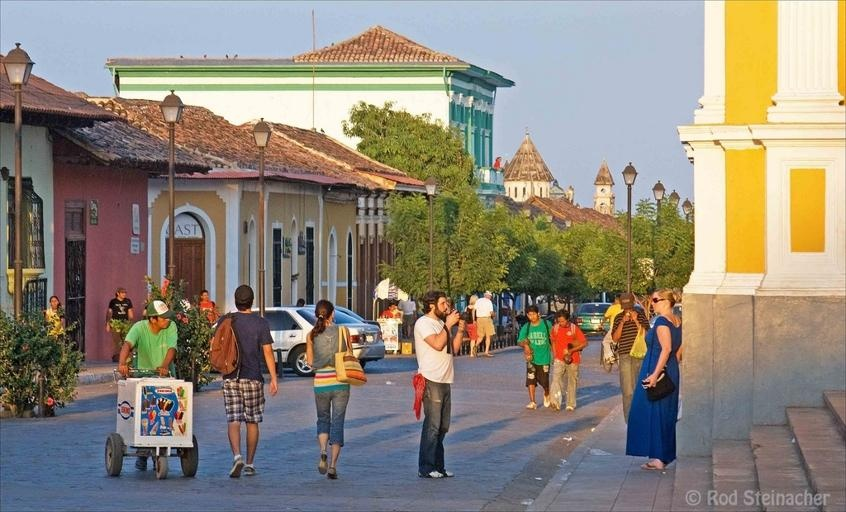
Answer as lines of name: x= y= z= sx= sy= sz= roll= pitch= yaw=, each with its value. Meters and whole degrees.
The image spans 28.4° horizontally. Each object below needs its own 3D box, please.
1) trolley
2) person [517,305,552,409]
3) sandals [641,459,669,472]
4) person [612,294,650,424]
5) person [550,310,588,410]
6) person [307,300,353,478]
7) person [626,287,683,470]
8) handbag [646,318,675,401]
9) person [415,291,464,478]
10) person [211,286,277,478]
trolley: x=-4.416 y=2.733 z=27.489 sx=1.314 sy=1.575 sz=1.723 roll=2 pitch=0 yaw=-24
person: x=2.359 y=2.178 z=35.827 sx=0.724 sy=2.226 sz=1.288 roll=4 pitch=10 yaw=33
sandals: x=3.736 y=3.480 z=27.503 sx=0.361 sy=0.127 sz=0.188 roll=5 pitch=0 yaw=13
person: x=3.787 y=1.908 z=30.645 sx=0.620 sy=2.152 sz=0.725 roll=0 pitch=-1 yaw=40
person: x=2.975 y=2.233 z=35.767 sx=0.928 sy=2.149 sz=1.086 roll=1 pitch=3 yaw=38
person: x=-1.518 y=2.232 z=27.797 sx=0.954 sy=2.949 sz=1.063 roll=2 pitch=-9 yaw=-19
person: x=3.773 y=2.049 z=27.685 sx=0.875 sy=2.924 sz=1.099 roll=0 pitch=0 yaw=29
handbag: x=3.776 y=1.757 z=27.232 sx=0.480 sy=1.220 sz=0.203 roll=-2 pitch=1 yaw=7
person: x=0.283 y=2.100 z=27.466 sx=1.003 sy=3.047 sz=1.019 roll=-2 pitch=-3 yaw=21
person: x=-2.987 y=2.053 z=27.511 sx=0.955 sy=3.110 sz=1.070 roll=0 pitch=-1 yaw=-9
